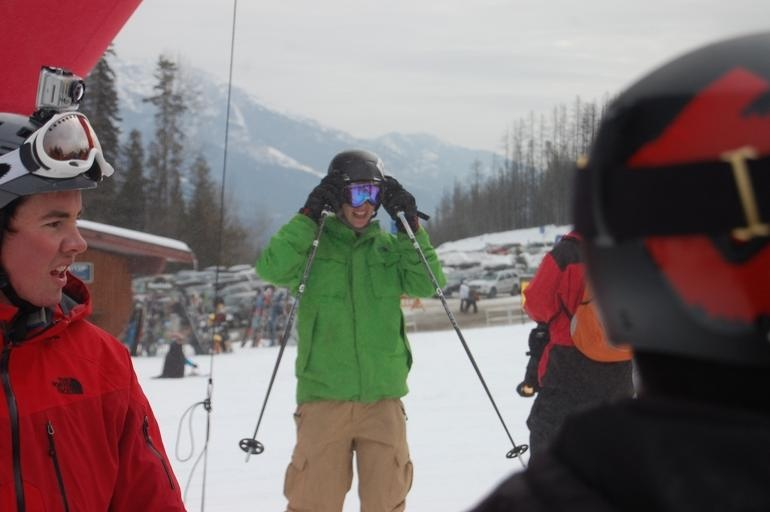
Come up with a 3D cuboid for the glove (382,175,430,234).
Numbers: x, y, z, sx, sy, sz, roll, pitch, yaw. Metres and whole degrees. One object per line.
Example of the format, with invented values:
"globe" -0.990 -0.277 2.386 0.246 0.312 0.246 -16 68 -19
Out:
"glove" 0.227 -0.929 18.632 0.654 1.078 0.367 -29 -8 -47
